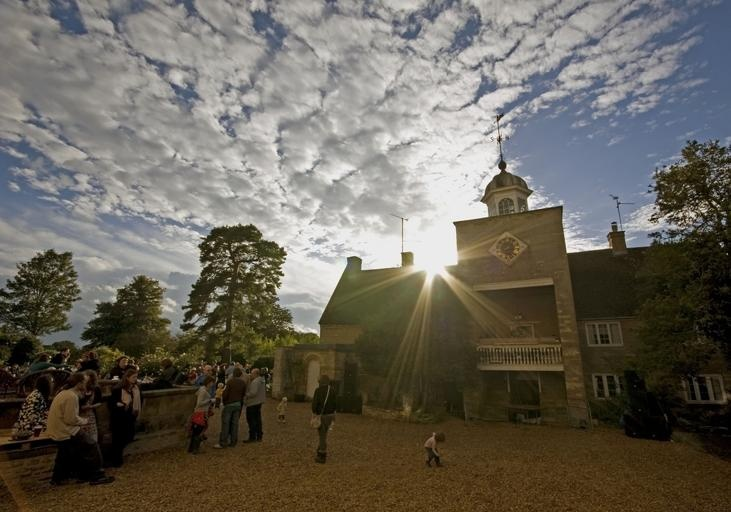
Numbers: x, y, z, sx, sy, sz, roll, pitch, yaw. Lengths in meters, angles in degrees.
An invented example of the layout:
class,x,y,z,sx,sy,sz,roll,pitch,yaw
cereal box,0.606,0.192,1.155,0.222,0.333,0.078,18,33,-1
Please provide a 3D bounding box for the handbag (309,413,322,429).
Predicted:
class,x,y,z,sx,sy,sz,roll,pitch,yaw
handbag,-1.776,5.900,14.148,0.367,0.466,0.340,5,-5,-22

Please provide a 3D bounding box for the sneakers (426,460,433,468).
class,x,y,z,sx,sy,sz,roll,pitch,yaw
sneakers,2.369,7.773,14.848,0.203,0.251,0.388,0,-30,4

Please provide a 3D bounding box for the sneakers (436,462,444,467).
class,x,y,z,sx,sy,sz,roll,pitch,yaw
sneakers,2.738,7.772,14.798,0.227,0.209,0.108,2,-1,17

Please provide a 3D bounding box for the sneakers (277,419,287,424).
class,x,y,z,sx,sy,sz,roll,pitch,yaw
sneakers,-4.200,8.308,19.964,0.472,0.259,0.160,1,-7,-6
